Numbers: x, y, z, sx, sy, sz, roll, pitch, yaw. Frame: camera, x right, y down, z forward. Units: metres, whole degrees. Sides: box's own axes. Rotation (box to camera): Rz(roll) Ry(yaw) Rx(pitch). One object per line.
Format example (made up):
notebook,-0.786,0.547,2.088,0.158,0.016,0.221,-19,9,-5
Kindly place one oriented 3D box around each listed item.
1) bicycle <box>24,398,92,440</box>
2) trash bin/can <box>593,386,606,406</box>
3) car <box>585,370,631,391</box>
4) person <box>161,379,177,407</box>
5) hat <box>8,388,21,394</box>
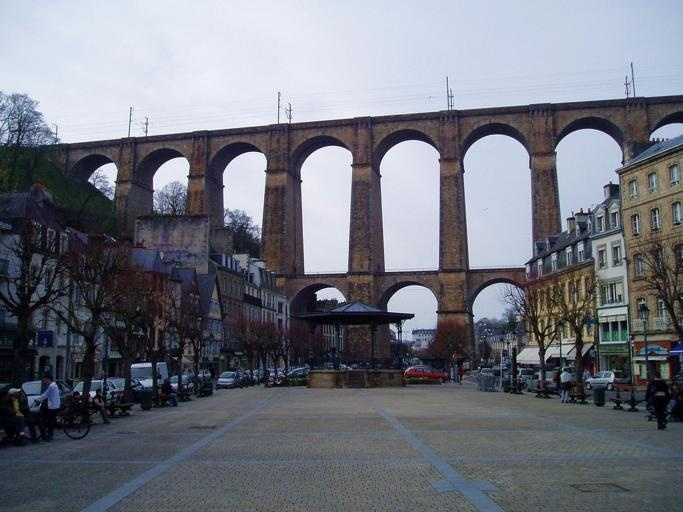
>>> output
bicycle,-8.365,4.815,19.664,2.064,1.480,1.002,0,-14,1
trash bin/can,11.570,6.298,29.849,0.420,0.817,0.742,-4,-11,15
car,17.127,8.006,42.978,2.430,1.266,4.428,-6,-13,19
person,-8.346,6.565,32.132,0.742,1.325,1.343,1,-11,-15
hat,-9.181,3.778,18.591,0.233,0.099,0.166,-3,5,-20
